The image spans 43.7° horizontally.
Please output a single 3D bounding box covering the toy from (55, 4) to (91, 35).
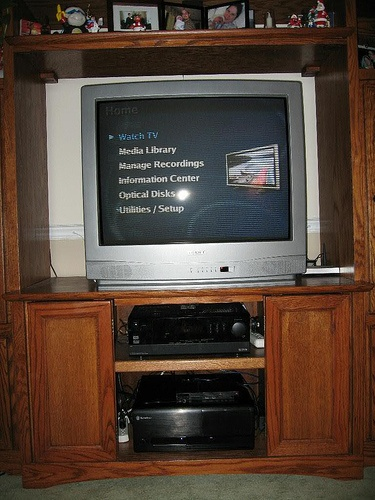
[{"bbox_3d":[-0.439,-0.884,1.837,0.163,0.114,0.119,-1,-42,-9],"label":"toy"}]
